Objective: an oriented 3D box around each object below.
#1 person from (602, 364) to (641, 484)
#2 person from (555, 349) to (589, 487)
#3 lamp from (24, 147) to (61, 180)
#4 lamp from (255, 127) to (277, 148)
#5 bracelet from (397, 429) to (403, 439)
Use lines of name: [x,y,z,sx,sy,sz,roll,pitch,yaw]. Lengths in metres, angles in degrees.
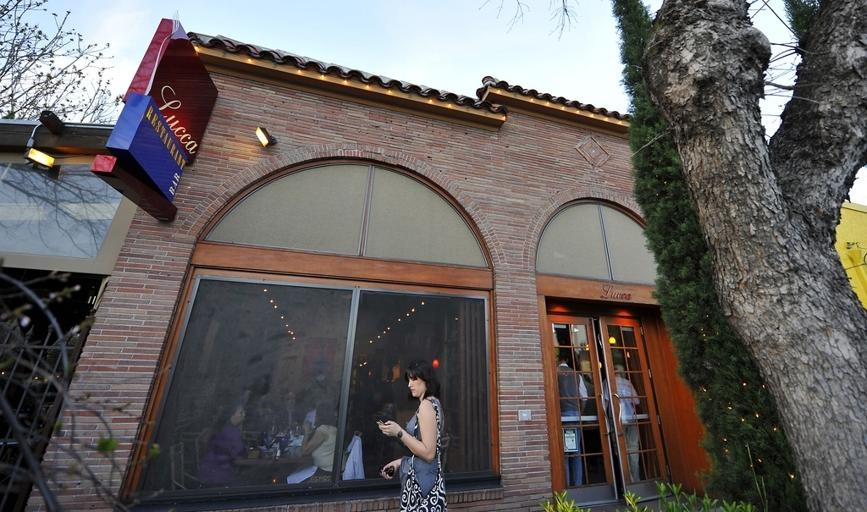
person: [3.580,3.030,8.719,0.591,1.991,0.259,20,-30,-38]
person: [2.458,2.903,8.489,0.586,2.183,0.363,11,-25,-23]
lamp: [-6.108,-1.440,7.425,0.588,0.201,0.402,14,-24,27]
lamp: [-2.747,-1.966,7.923,0.350,0.204,0.309,-17,-5,-43]
bracelet: [-0.417,2.224,5.909,0.106,0.135,0.052,0,-6,14]
